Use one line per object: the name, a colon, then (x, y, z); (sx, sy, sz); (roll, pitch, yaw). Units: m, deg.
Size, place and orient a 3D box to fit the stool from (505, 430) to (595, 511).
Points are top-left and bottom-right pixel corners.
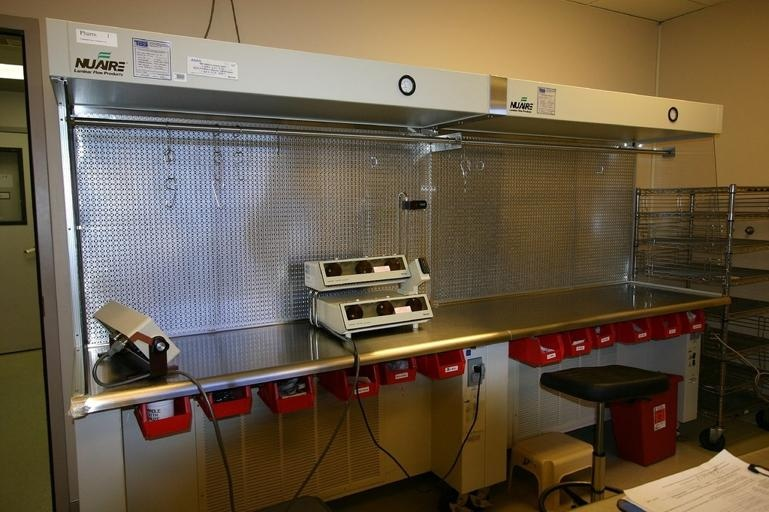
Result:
stool: (1.066, 1.323, 3.896); (0.478, 0.377, 0.466); (-5, 4, -33)
